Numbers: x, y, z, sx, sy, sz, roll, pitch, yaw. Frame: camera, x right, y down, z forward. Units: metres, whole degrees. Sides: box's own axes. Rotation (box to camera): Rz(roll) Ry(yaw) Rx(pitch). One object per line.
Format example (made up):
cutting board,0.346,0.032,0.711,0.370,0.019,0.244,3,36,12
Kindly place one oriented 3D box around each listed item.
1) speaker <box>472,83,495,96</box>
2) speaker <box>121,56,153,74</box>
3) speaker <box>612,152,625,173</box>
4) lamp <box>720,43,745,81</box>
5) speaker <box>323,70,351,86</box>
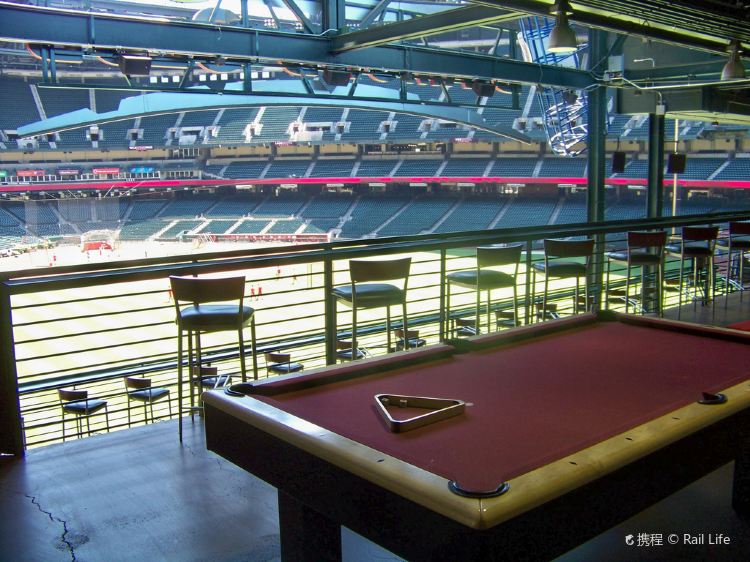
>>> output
speaker,1.923,-3.431,11.336,0.256,0.206,0.661,14,18,42
speaker,-2.890,-2.591,7.660,0.358,0.241,0.365,-5,12,-14
speaker,3.963,-1.952,10.367,0.181,0.327,0.453,2,12,18
lamp,3.677,-2.197,6.499,0.207,0.365,1.376,4,11,27
speaker,-0.596,-3.072,9.690,0.411,0.229,0.816,-2,10,-3
